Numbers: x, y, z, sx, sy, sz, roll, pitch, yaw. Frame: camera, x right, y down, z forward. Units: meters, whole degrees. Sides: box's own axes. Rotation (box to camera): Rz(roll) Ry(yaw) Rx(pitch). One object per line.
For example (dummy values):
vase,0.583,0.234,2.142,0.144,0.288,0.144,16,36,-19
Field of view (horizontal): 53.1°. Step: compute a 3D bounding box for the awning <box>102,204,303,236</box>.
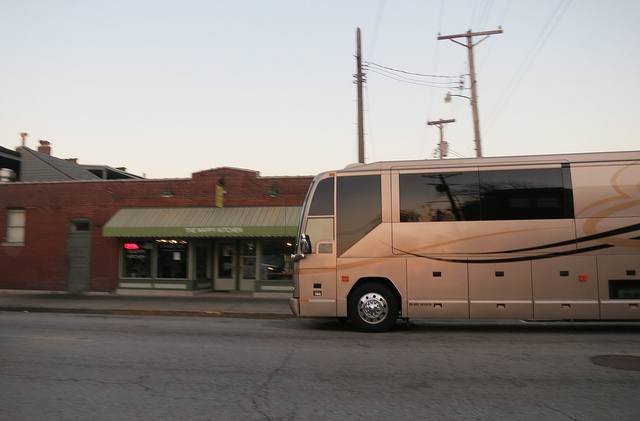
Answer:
awning,-5.009,0.415,27.237,8.150,1.299,1.347,0,2,8
